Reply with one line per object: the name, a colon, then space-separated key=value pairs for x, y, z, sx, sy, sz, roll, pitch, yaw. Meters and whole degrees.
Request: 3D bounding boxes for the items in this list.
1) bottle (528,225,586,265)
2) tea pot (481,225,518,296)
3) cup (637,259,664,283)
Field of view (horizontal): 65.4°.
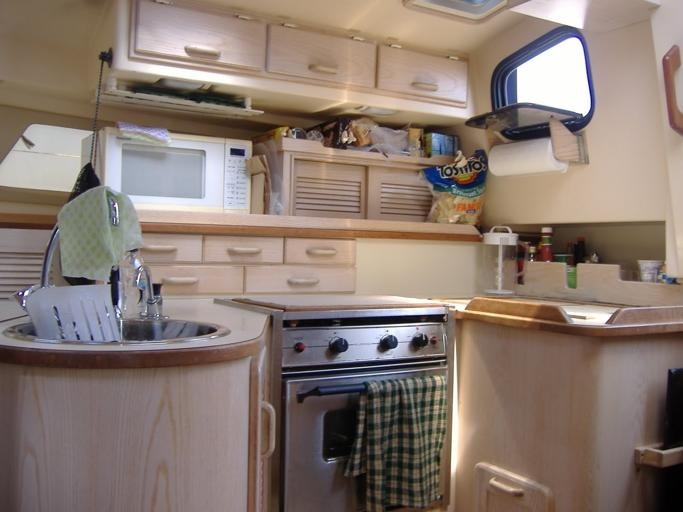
bottle: x=1.095 y=-0.068 z=2.738 sx=0.222 sy=0.196 sz=0.215 roll=-2 pitch=4 yaw=-23
tea pot: x=0.808 y=0.026 z=2.684 sx=0.178 sy=0.343 sz=0.163 roll=0 pitch=0 yaw=0
cup: x=1.318 y=0.064 z=2.273 sx=0.088 sy=0.088 sz=0.107 roll=0 pitch=0 yaw=33
